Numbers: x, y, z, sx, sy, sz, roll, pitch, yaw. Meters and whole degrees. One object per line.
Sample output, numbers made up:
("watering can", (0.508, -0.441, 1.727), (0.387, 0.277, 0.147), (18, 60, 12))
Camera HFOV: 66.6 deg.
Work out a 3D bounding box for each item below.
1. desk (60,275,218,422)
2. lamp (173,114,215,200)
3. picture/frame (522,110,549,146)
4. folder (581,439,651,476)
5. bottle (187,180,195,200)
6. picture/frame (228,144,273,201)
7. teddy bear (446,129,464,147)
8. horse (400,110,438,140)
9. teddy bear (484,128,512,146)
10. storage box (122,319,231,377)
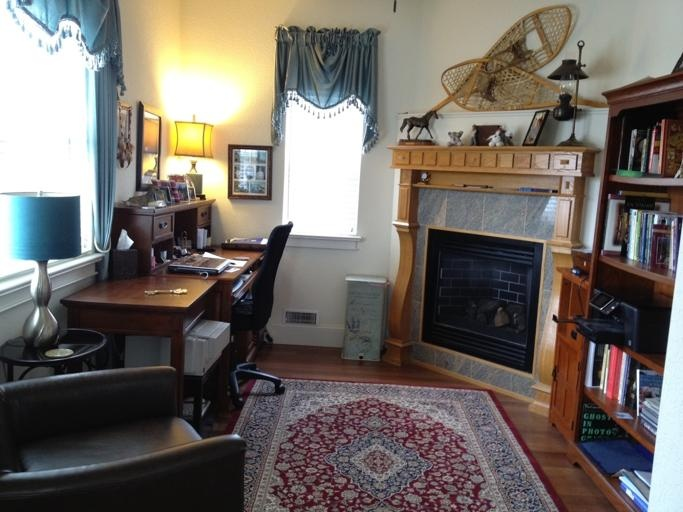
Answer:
("desk", (-1.255, 0.447, 3.369), (0.670, 0.770, 0.904), (1, 7, 3))
("lamp", (-1.395, -0.919, 4.803), (0.319, 0.741, 0.457), (5, 12, 12))
("picture/frame", (1.544, -1.016, 4.115), (0.029, 0.304, 0.219), (16, 19, -16))
("folder", (1.661, 1.217, 3.141), (0.258, 0.019, 0.379), (-3, 8, -4))
("bottle", (-1.334, -0.576, 4.574), (0.083, 0.155, 0.160), (-3, 20, -7))
("picture/frame", (-0.869, -0.829, 4.972), (0.485, 0.591, 0.045), (1, 9, -2))
("teddy bear", (0.978, -1.010, 4.465), (0.127, 0.124, 0.200), (5, 12, 10))
("horse", (0.648, -1.168, 4.665), (0.240, 0.276, 0.375), (-7, 15, -39))
("teddy bear", (1.263, -0.945, 4.192), (0.141, 0.089, 0.189), (6, 18, 40))
("storage box", (-1.034, 0.602, 3.380), (0.375, 0.142, 0.431), (1, 9, 3))
